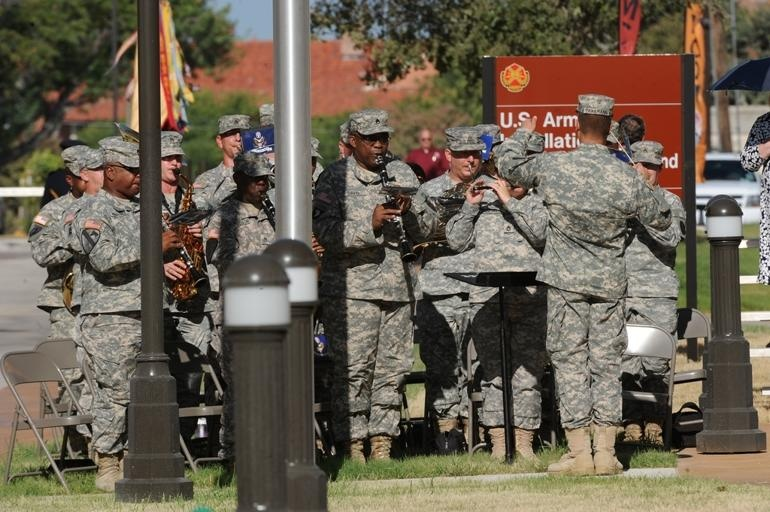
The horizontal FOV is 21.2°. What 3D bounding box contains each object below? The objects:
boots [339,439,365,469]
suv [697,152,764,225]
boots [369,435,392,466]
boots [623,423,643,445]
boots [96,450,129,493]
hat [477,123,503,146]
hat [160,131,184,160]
[{"bbox_3d":[-0.506,3.075,32.660,0.404,0.374,0.352,2,-8,-13],"label":"boots"},{"bbox_3d":[9.174,-2.189,56.749,2.325,1.892,4.053,-1,-6,12],"label":"suv"},{"bbox_3d":[-0.040,3.064,32.746,0.443,0.484,0.358,4,-14,-14],"label":"boots"},{"bbox_3d":[3.982,2.847,33.206,0.325,0.287,0.309,1,-3,4],"label":"boots"},{"bbox_3d":[-4.241,3.361,32.217,0.451,0.618,0.347,-3,-7,-7],"label":"boots"},{"bbox_3d":[1.738,-2.121,34.027,0.384,0.166,0.498,6,-2,4],"label":"hat"},{"bbox_3d":[-3.464,-1.951,34.182,0.387,0.256,0.483,0,-5,-20],"label":"hat"}]
